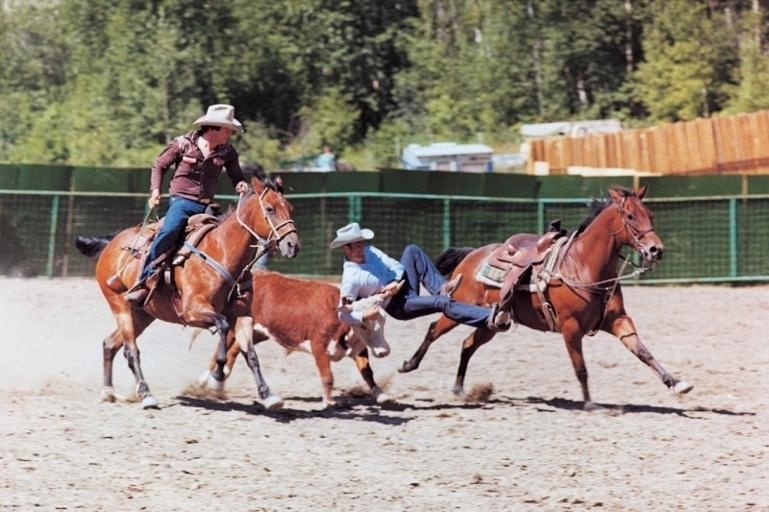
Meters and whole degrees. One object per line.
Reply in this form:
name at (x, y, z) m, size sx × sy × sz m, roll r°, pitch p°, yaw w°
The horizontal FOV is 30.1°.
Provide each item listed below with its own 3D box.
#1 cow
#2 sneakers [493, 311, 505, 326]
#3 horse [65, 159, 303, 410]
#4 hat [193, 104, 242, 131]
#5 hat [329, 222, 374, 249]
cow at (-1.545, 1.537, 26.729) m, size 4.175 × 2.225 × 1.375 m, roll 9°, pitch 12°, yaw 35°
sneakers at (2.078, 1.145, 25.792) m, size 0.296 × 0.264 × 0.090 m, roll -2°, pitch 3°, yaw -12°
horse at (-3.776, 0.825, 26.930) m, size 6.189 × 4.218 × 1.524 m, roll -4°, pitch -6°, yaw 39°
hat at (-2.966, -2.555, 26.292) m, size 0.717 × 0.280 × 0.565 m, roll 11°, pitch -7°, yaw -42°
hat at (-0.594, -0.366, 25.637) m, size 0.614 × 0.229 × 0.539 m, roll -22°, pitch -4°, yaw 21°
